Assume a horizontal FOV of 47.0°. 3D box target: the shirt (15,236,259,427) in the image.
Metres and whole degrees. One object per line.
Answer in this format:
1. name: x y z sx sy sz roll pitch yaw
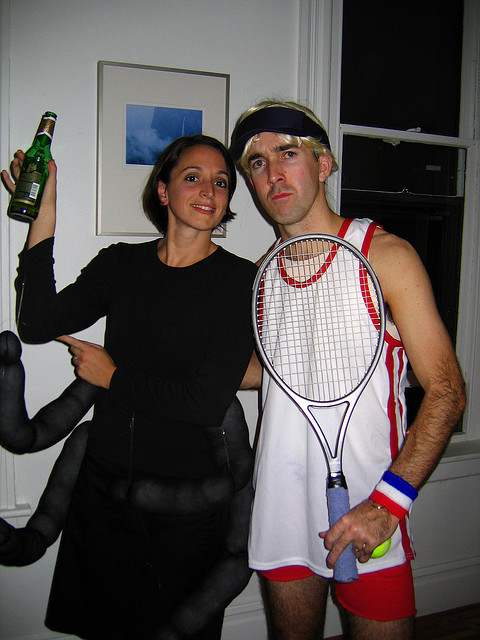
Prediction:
1. shirt: -0.305 0.019 1.717 0.715 0.529 0.298 3 4 18

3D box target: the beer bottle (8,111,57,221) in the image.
1. beer bottle: -0.617 -0.459 1.639 0.129 0.321 0.114 -1 4 -25

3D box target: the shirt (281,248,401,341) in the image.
1. shirt: 0.216 -0.019 1.528 0.176 0.314 0.014 -7 -9 14

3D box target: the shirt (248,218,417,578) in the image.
1. shirt: 0.281 0.259 1.585 0.379 1.067 0.432 12 15 31
